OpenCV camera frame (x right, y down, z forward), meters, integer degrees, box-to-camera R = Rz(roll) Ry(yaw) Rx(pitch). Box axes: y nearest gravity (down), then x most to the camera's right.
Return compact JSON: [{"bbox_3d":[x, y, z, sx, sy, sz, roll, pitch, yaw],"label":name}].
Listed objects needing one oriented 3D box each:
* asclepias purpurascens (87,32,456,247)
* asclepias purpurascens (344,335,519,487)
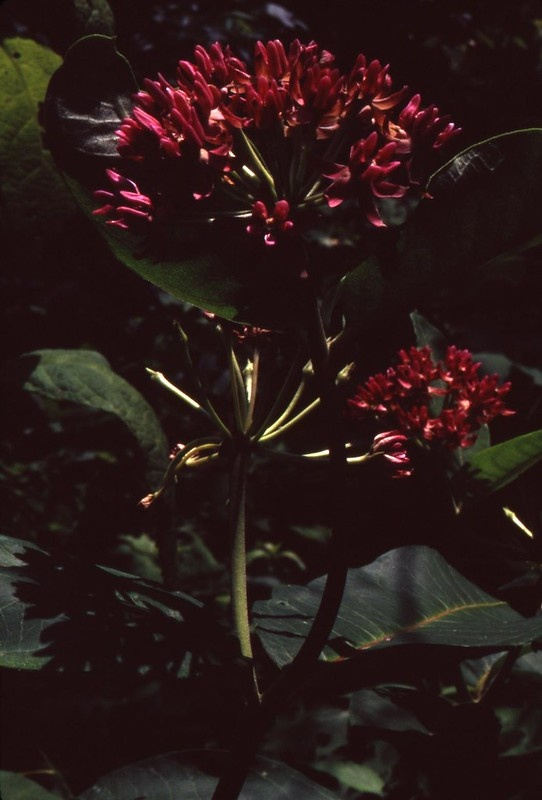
[{"bbox_3d":[-0.012,-0.229,0.694,0.267,0.132,0.226,-7,36,-20],"label":"asclepias purpurascens"},{"bbox_3d":[0.180,0.018,0.850,0.144,0.160,0.061,51,-7,24],"label":"asclepias purpurascens"}]
